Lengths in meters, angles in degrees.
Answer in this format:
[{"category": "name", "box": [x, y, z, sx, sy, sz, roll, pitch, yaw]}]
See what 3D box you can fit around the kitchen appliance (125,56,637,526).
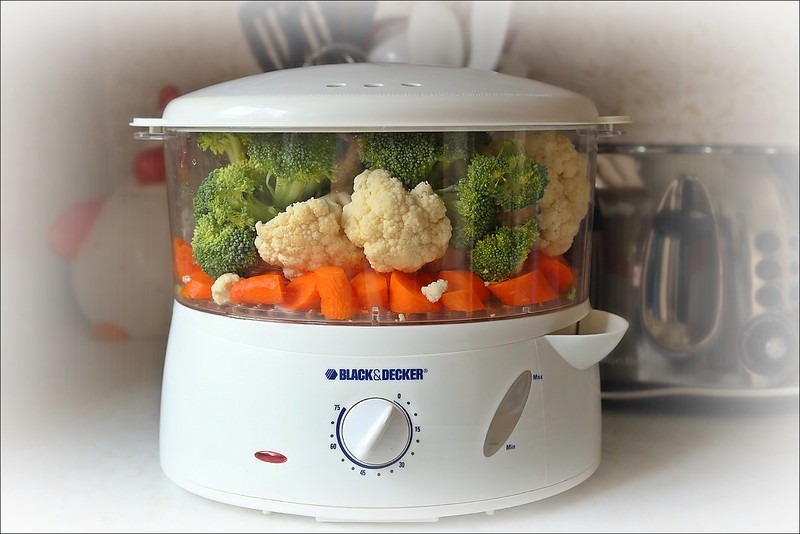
[{"category": "kitchen appliance", "box": [-0.073, 0.018, 1.863, 1.188, 0.899, 1.120, -1, 7, -8]}]
